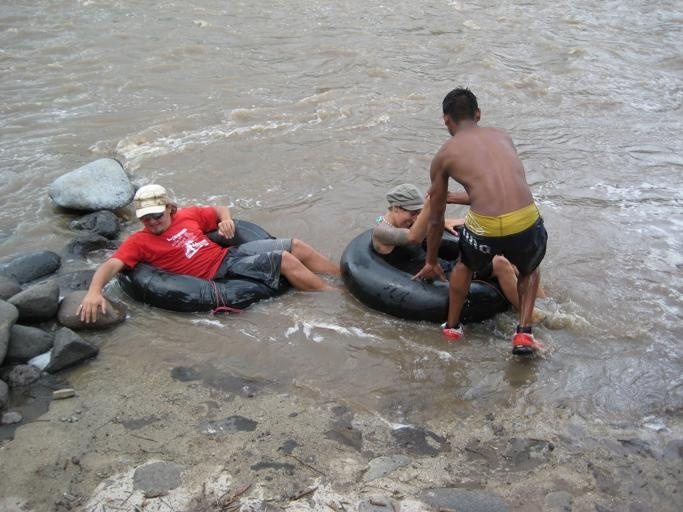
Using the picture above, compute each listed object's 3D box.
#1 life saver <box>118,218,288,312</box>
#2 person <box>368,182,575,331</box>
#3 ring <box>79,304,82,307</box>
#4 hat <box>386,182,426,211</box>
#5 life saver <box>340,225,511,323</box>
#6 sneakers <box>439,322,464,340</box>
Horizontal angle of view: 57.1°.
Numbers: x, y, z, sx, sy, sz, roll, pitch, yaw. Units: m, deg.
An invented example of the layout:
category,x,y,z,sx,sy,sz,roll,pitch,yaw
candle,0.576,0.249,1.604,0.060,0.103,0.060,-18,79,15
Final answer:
category,x,y,z,sx,sy,sz,roll,pitch,yaw
life saver,-1.579,0.087,7.745,1.944,0.392,1.468,-2,38,-5
person,1.584,-0.124,7.285,2.676,1.240,1.220,10,20,34
ring,-2.786,0.536,6.738,0.028,0.009,0.026,-13,48,14
hat,0.710,-0.688,7.206,0.474,0.180,0.288,-1,29,3
life saver,0.927,0.325,7.033,1.591,0.308,1.290,10,22,4
sneakers,1.191,0.809,6.706,0.281,0.085,0.128,3,16,15
